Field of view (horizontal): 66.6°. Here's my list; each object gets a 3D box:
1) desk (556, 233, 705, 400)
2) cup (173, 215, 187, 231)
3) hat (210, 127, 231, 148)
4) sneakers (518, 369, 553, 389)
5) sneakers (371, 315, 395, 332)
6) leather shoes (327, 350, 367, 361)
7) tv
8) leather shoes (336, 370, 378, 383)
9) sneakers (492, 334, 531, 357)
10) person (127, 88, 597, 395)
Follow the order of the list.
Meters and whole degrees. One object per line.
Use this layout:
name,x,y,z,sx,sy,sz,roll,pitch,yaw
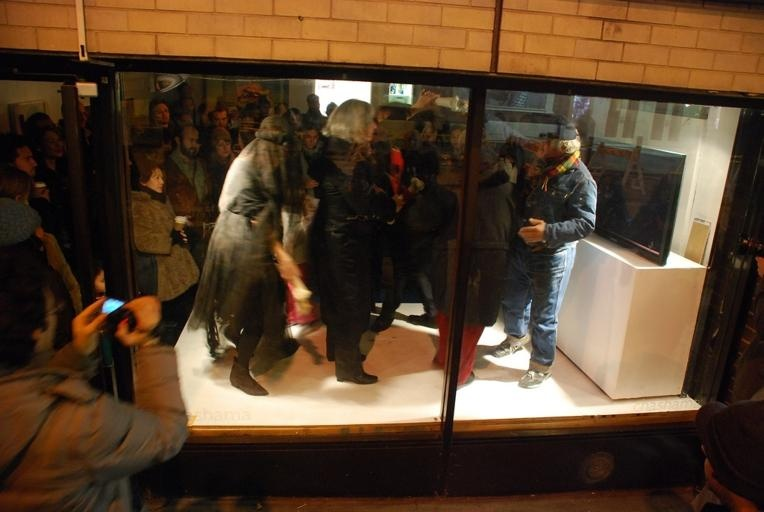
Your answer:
desk,1.646,0.368,3.778,0.506,0.825,0.915,-2,16,-16
cup,-1.177,-0.190,3.393,0.075,0.067,0.073,4,10,-1
hat,-0.904,-0.679,3.289,0.088,0.108,0.109,-11,38,-21
sneakers,1.008,0.813,3.835,0.184,0.073,0.105,-13,58,-15
sneakers,0.009,0.423,3.603,0.140,0.076,0.062,-15,-19,-2
leather shoes,-0.235,0.629,3.641,0.144,0.051,0.099,0,4,-42
tv,1.562,-0.375,3.578,0.798,0.818,0.086,3,25,16
leather shoes,-0.155,0.765,3.711,0.264,0.108,0.088,-2,9,-2
sneakers,0.828,0.565,3.844,0.296,0.122,0.100,-13,36,-16
person,-0.223,-0.137,3.409,1.781,1.185,0.598,1,30,-1
